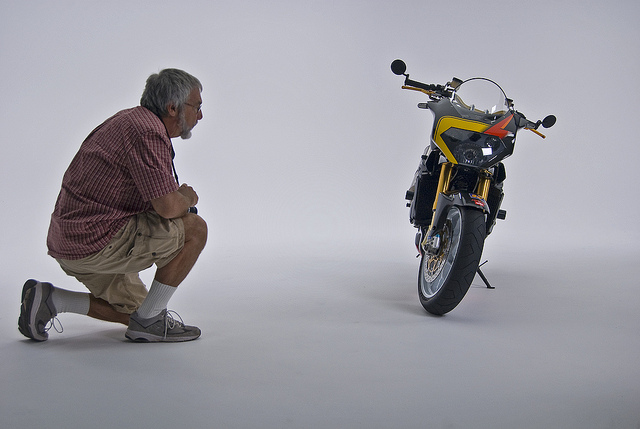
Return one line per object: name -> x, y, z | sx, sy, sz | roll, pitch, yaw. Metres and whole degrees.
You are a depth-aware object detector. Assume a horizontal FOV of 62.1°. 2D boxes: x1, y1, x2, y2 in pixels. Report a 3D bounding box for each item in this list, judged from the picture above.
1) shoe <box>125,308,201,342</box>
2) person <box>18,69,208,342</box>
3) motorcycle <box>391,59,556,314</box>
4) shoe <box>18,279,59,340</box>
shoe -> -0.884, 0.629, 3.026 | 0.419, 0.198, 0.167 | 2, -2, -10
person -> -1.084, -0.066, 3.099 | 0.941, 1.549, 1.085 | 2, 0, 36
motorcycle -> 0.970, -0.149, 3.568 | 0.763, 1.559, 0.978 | 1, 10, -5
shoe -> -1.587, 0.474, 2.997 | 0.166, 0.242, 0.492 | 22, 19, -39
